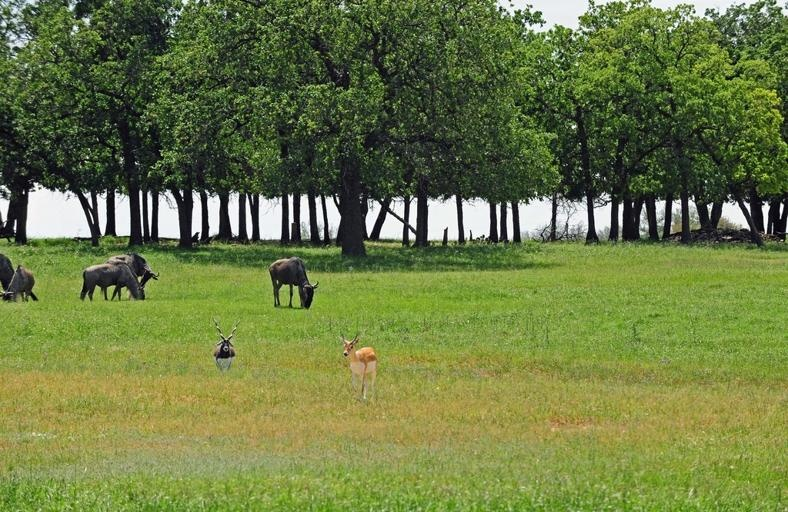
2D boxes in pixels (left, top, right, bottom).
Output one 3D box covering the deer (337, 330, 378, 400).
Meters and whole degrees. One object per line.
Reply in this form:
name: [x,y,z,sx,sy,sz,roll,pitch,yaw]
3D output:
deer: [-2.006,6.918,92.804,1.991,3.909,4.290,-2,1,-1]
